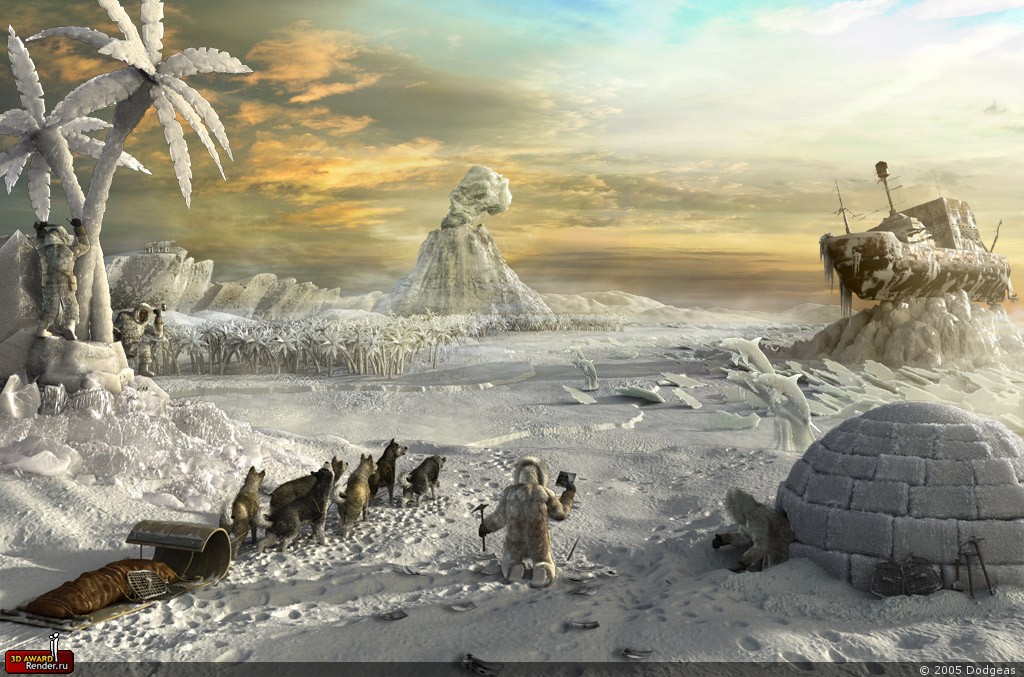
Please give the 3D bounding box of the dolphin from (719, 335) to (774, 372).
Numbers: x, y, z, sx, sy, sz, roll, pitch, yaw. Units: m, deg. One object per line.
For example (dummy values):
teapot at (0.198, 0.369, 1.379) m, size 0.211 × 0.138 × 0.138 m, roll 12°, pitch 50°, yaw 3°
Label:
dolphin at (8.872, 0.610, 27.156) m, size 2.300 × 0.785 × 1.058 m, roll 22°, pitch 14°, yaw -38°

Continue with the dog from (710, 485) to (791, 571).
dog at (3.495, 2.798, 10.498) m, size 0.838 × 0.794 × 1.415 m, roll 0°, pitch -1°, yaw -2°
